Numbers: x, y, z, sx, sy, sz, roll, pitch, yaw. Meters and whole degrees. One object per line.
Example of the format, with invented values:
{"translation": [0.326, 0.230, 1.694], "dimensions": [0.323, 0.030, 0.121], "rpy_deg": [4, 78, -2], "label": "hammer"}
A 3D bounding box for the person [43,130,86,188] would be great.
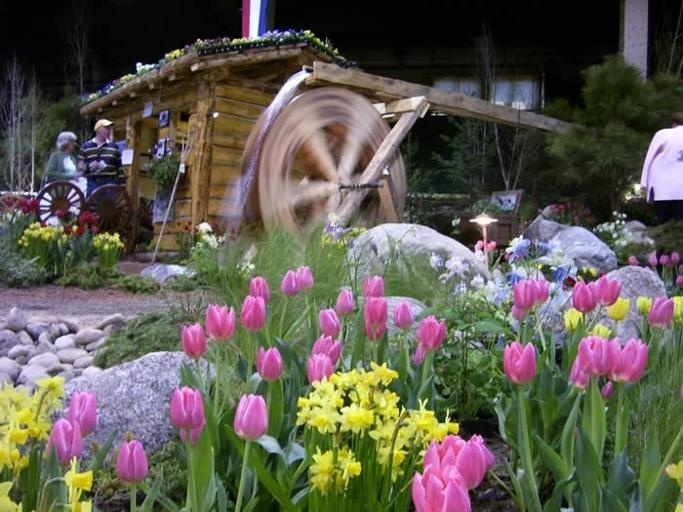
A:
{"translation": [-4.821, -1.733, 11.468], "dimensions": [0.611, 1.061, 1.646], "rpy_deg": [2, -1, -23], "label": "person"}
